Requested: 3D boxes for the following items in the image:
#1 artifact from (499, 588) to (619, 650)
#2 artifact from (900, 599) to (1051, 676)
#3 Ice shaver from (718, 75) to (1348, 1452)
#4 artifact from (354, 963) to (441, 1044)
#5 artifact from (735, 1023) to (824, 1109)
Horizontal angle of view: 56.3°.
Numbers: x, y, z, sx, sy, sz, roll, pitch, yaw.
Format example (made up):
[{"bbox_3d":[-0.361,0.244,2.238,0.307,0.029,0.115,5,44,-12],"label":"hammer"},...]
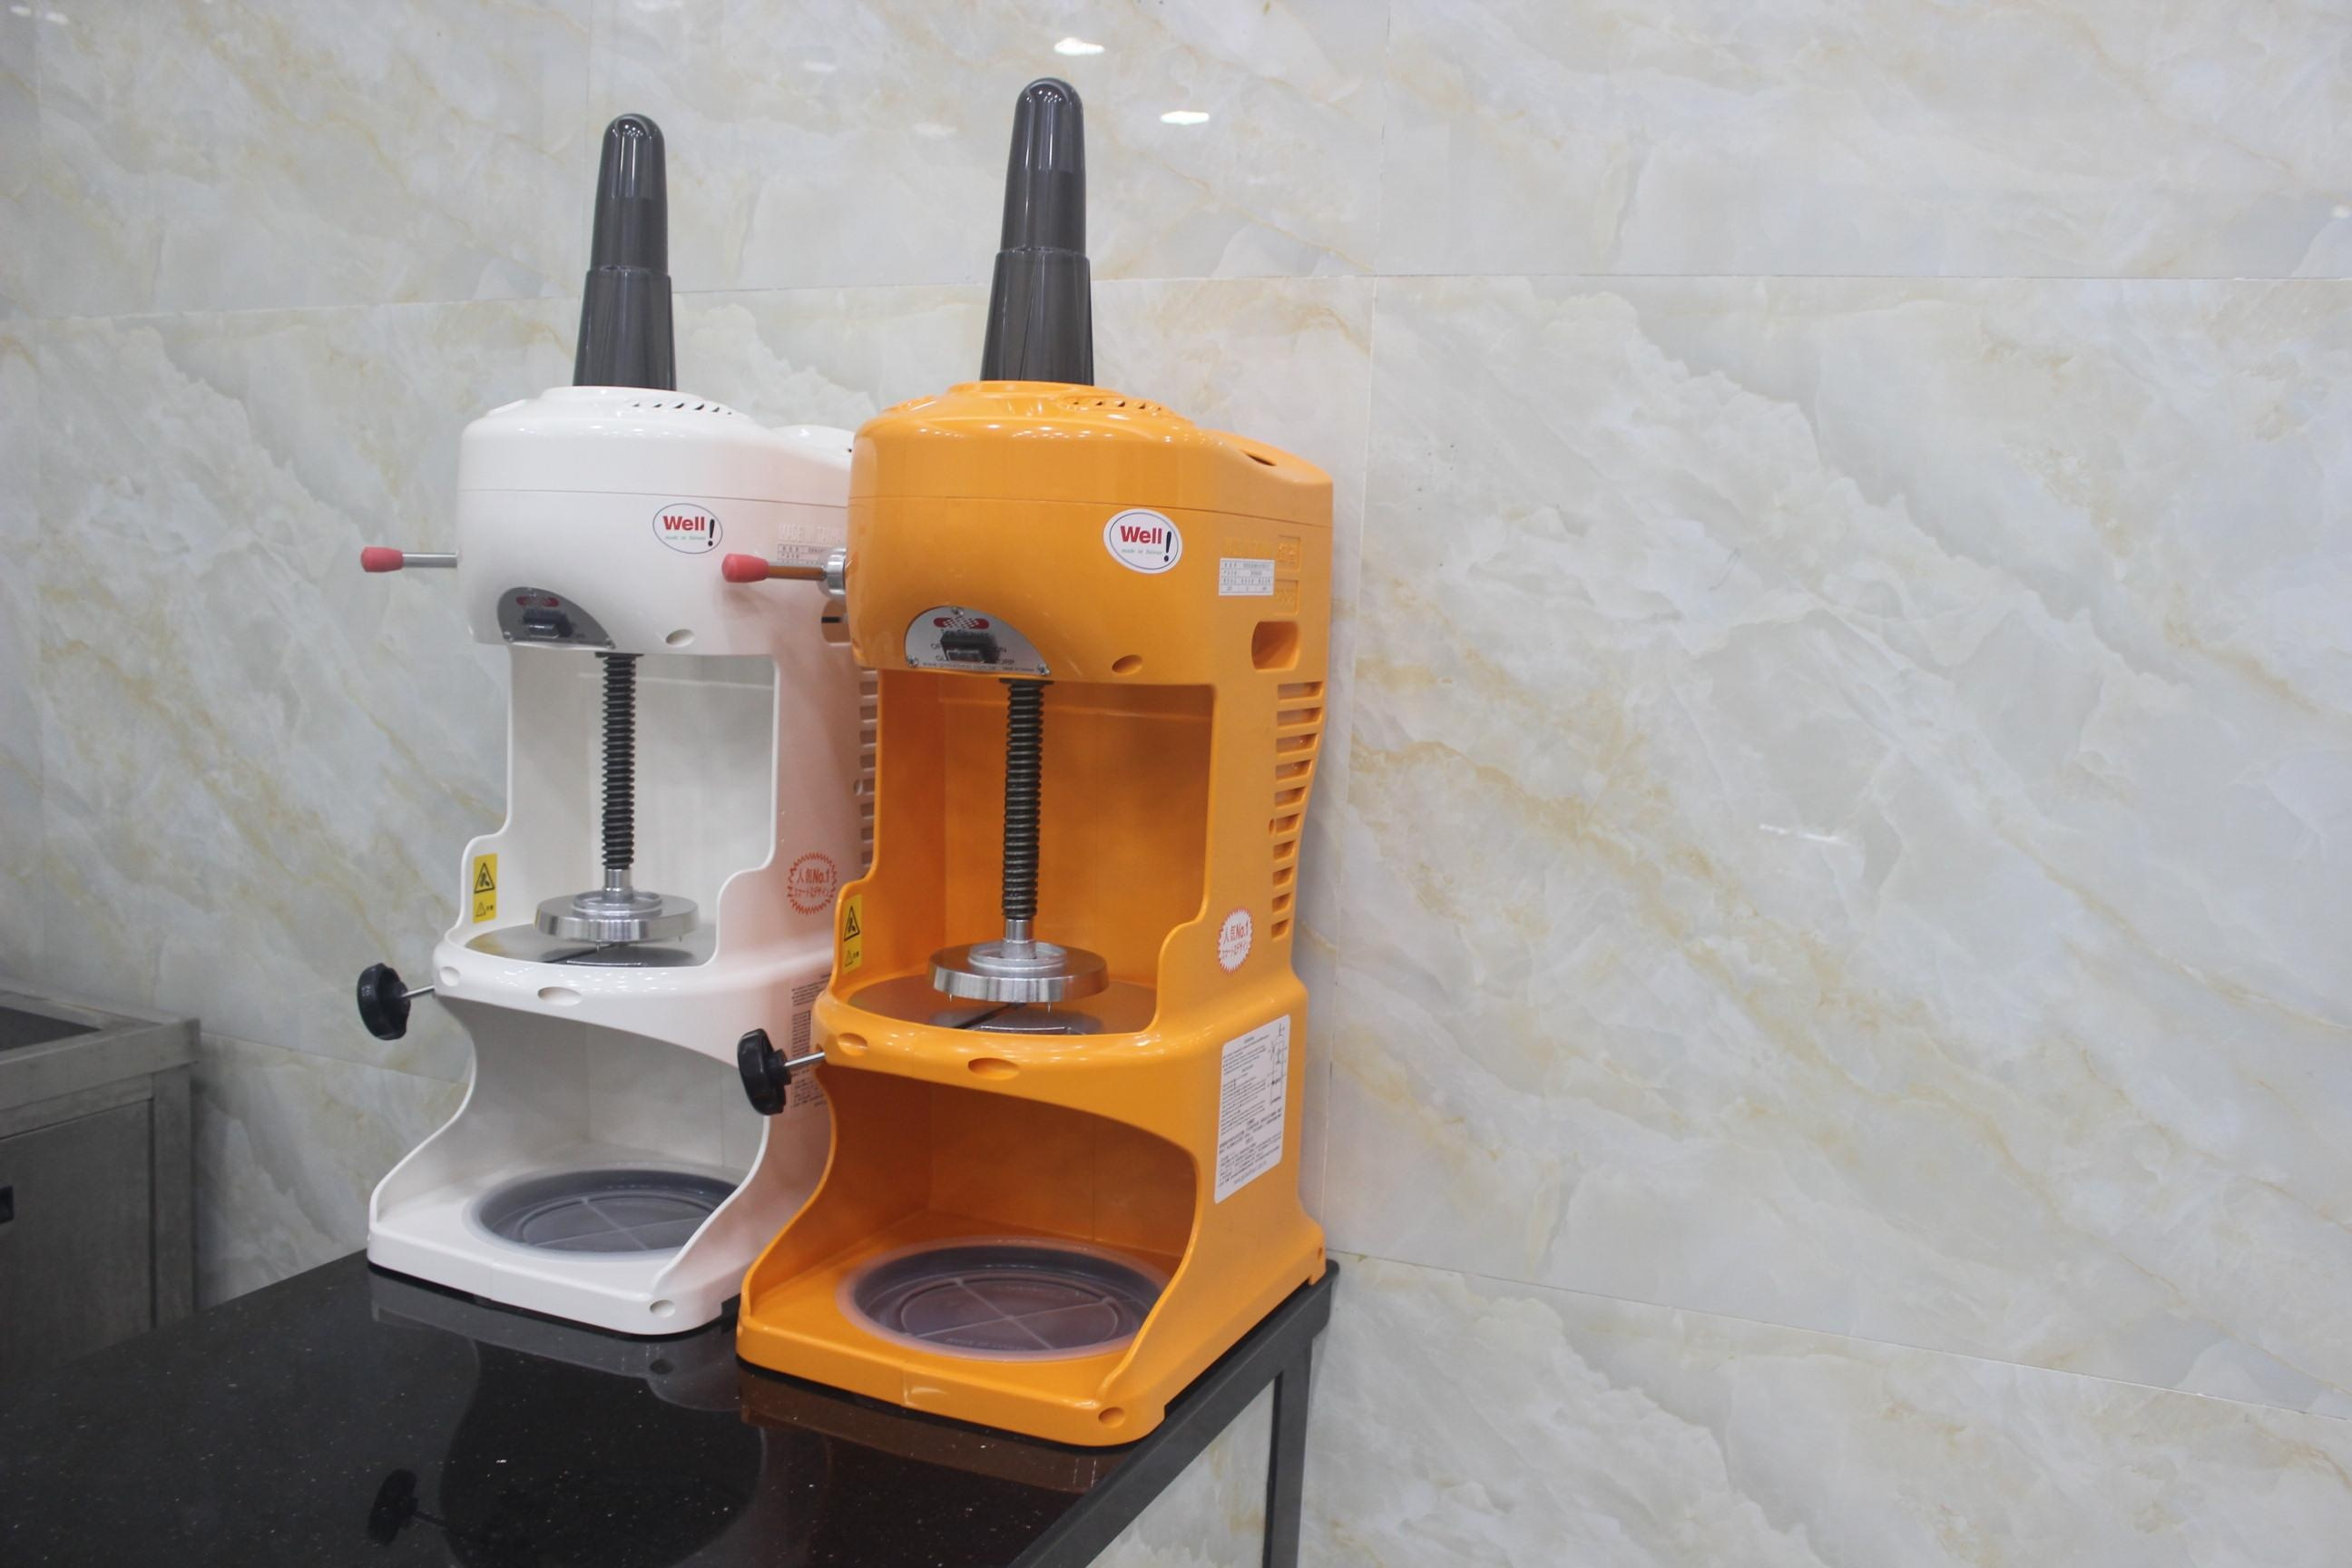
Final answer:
[{"bbox_3d":[-0.625,-0.166,2.230,0.101,0.062,0.025,17,19,12],"label":"artifact"},{"bbox_3d":[-0.191,-0.128,2.056,0.110,0.041,0.067,-12,57,-10],"label":"artifact"},{"bbox_3d":[-0.084,-0.041,2.201,0.520,1.282,0.435,8,11,17],"label":"Ice shaver"},{"bbox_3d":[-0.838,0.241,2.367,0.071,0.113,0.153,1,11,-20],"label":"artifact"},{"bbox_3d":[-0.398,0.282,2.148,0.106,0.056,0.061,-16,-20,-2],"label":"artifact"}]
